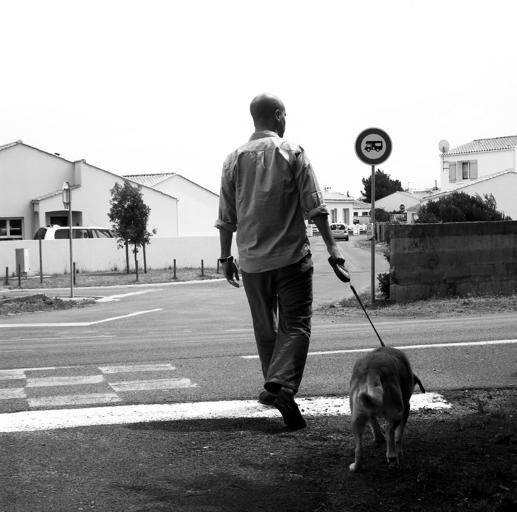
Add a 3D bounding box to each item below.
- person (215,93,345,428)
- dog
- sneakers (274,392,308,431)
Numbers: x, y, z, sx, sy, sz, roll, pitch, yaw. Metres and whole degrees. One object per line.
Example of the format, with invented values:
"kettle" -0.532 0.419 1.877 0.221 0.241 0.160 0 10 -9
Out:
"person" 0.139 -0.026 4.882 0.574 2.204 0.950 -2 1 -38
"dog" 0.680 0.814 4.040 0.342 0.633 1.051 -4 -1 19
"sneakers" 0.212 0.899 4.494 0.149 0.385 0.161 -6 39 -2
